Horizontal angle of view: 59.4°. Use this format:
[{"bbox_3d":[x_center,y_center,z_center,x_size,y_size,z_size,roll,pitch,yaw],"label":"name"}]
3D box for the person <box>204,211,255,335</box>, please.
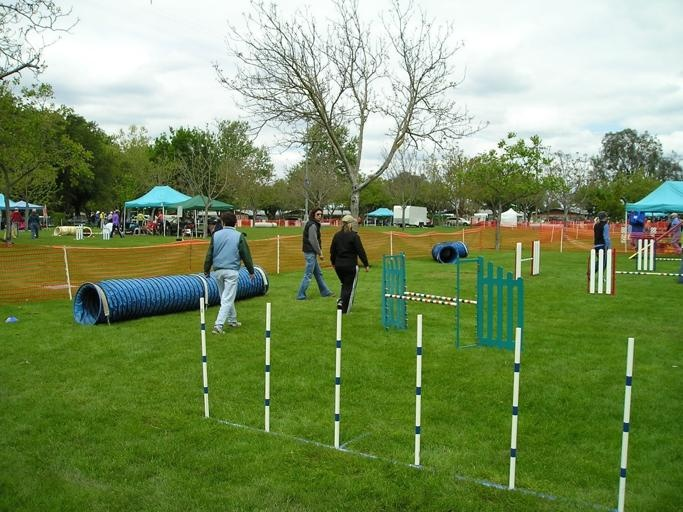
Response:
[{"bbox_3d":[-2.068,0.286,11.112,0.835,2.214,0.935,-3,10,-16],"label":"person"}]
